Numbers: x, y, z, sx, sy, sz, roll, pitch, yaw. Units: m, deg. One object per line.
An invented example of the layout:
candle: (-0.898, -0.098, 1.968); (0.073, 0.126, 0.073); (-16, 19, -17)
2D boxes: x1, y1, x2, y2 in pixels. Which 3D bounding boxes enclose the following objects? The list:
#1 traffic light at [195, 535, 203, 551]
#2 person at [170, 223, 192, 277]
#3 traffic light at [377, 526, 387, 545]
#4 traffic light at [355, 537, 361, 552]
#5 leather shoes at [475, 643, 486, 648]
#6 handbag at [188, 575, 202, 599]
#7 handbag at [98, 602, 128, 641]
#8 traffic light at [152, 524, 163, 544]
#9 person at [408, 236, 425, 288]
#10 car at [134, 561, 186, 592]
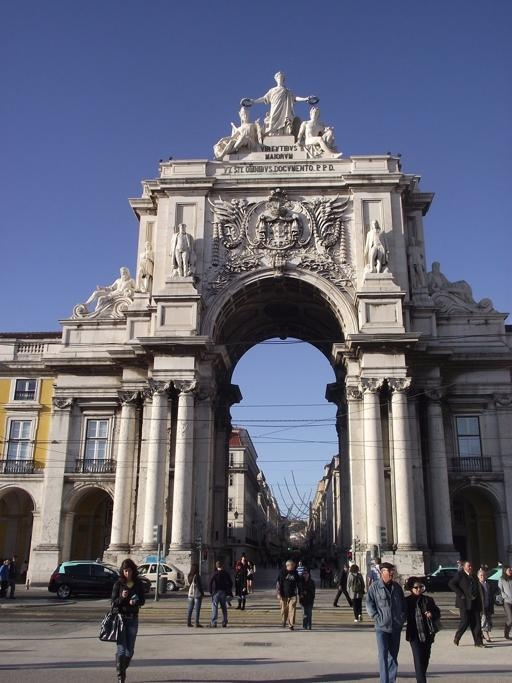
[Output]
traffic light: (-2.855, 10.015, 31.981); (0.265, 0.838, 0.150); (-3, -57, 2)
person: (-4.178, -5.144, 36.240); (1.200, 3.429, 0.703); (1, -18, -7)
traffic light: (5.964, 9.168, 30.406); (0.274, 0.878, 0.751); (-7, -18, 17)
traffic light: (5.049, 9.942, 31.626); (0.248, 0.623, 0.375); (9, -20, -28)
leather shoes: (4.815, 6.504, 13.809); (0.270, 0.106, 0.087); (14, -43, -15)
handbag: (-1.668, 6.680, 17.523); (0.349, 0.607, 0.313); (-3, -18, 5)
handbag: (-1.865, 3.672, 8.349); (0.306, 0.401, 0.393); (1, -18, -8)
traffic light: (-4.707, 9.118, 30.587); (0.374, 0.897, 1.199); (2, -18, -11)
person: (9.390, -4.653, 37.759); (1.014, 3.554, 0.448); (4, -19, -16)
car: (-4.264, 10.696, 29.528); (2.317, 1.027, 1.345); (3, -26, 0)
